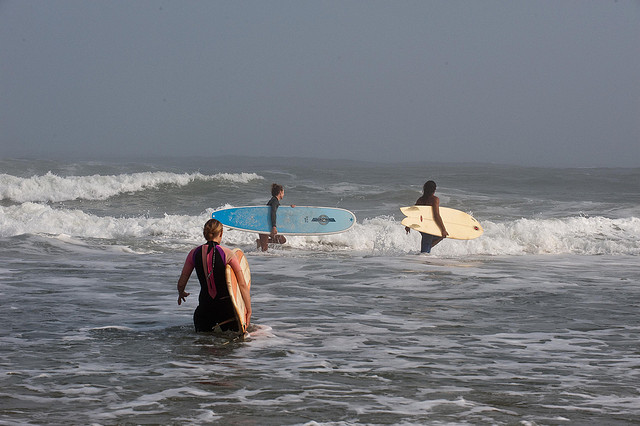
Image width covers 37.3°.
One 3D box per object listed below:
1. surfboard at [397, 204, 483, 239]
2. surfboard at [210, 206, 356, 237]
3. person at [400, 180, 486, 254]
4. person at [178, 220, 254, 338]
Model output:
[{"bbox_3d":[2.792,0.192,21.395,0.324,0.724,2.766,-14,13,-33],"label":"surfboard"},{"bbox_3d":[-0.826,0.136,22.210,3.850,0.696,0.386,0,7,23],"label":"surfboard"},{"bbox_3d":[2.572,0.291,21.162,2.149,0.808,0.704,12,-36,-28],"label":"person"},{"bbox_3d":[-1.532,0.973,13.927,1.052,1.707,0.716,2,-11,-7],"label":"person"}]
